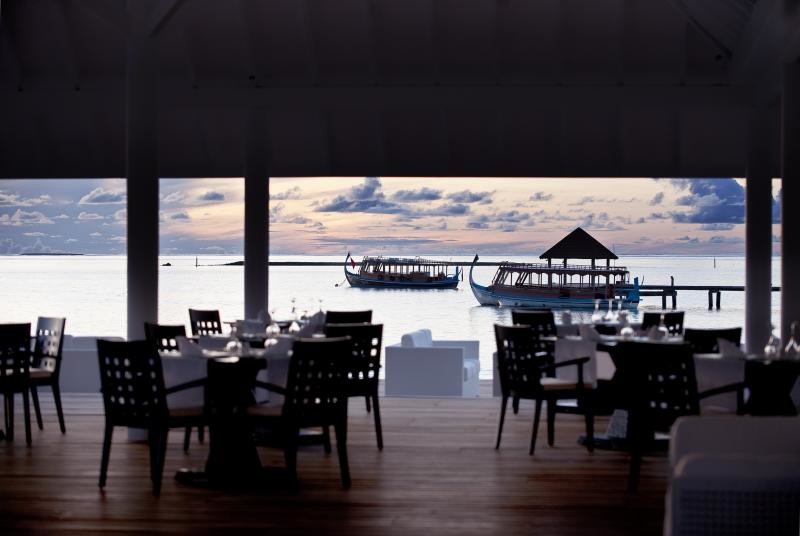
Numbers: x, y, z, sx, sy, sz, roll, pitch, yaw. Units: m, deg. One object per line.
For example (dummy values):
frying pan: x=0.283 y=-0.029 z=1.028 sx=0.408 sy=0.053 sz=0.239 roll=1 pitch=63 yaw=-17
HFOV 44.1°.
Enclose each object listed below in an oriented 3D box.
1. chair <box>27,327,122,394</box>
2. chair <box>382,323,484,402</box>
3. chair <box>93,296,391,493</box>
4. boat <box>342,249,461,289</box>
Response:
chair: x=-4.244 y=1.296 z=13.073 sx=1.170 sy=1.062 sz=0.813 roll=2 pitch=3 yaw=-2
chair: x=0.418 y=1.302 z=13.153 sx=1.210 sy=0.905 sz=1.368 roll=2 pitch=7 yaw=5
chair: x=-1.523 y=1.350 z=9.798 sx=2.548 sy=1.263 sz=1.537 roll=-2 pitch=-2 yaw=9
boat: x=0.035 y=0.211 z=42.043 sx=5.050 sy=1.926 sz=8.199 roll=1 pitch=7 yaw=-4
